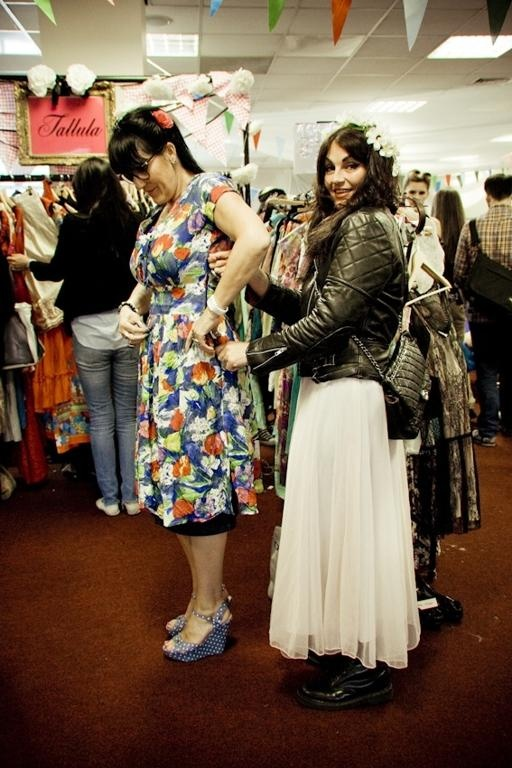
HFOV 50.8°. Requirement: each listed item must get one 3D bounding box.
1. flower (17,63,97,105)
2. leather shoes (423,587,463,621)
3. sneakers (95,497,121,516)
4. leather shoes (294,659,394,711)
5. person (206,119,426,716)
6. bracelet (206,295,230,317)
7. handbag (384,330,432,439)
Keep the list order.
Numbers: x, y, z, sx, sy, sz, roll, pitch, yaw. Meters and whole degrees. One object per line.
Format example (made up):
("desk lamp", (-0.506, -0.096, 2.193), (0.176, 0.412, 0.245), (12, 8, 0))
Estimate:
("flower", (-0.821, -1.259, 2.280), (0.224, 0.151, 0.079), (-16, 10, -14))
("leather shoes", (0.623, 0.750, 1.809), (0.100, 0.047, 0.133), (-7, 16, -19))
("sneakers", (-0.736, 0.619, 2.746), (0.062, 0.056, 0.143), (-6, 18, -31))
("leather shoes", (0.228, 0.762, 1.460), (0.260, 0.181, 0.114), (1, 5, -2))
("person", (0.185, 0.097, 1.328), (0.396, 1.445, 0.308), (3, 7, 28))
("bracelet", (-0.090, -0.172, 1.246), (0.050, 0.026, 0.042), (32, 41, 24))
("handbag", (0.371, -0.006, 1.334), (0.128, 0.281, 0.243), (-4, -29, 22))
